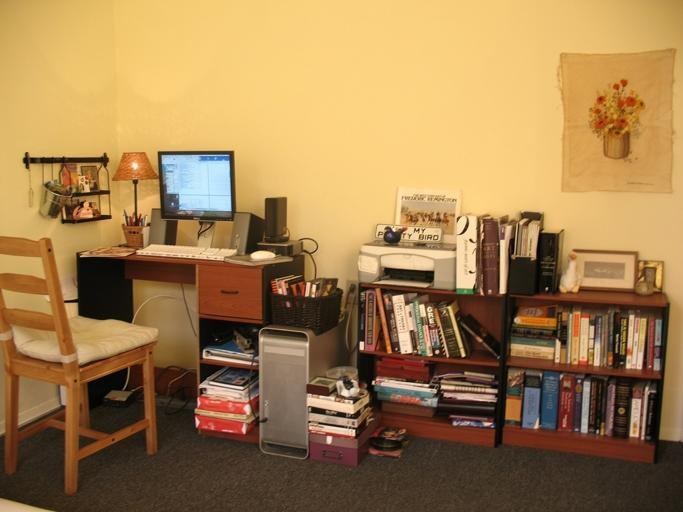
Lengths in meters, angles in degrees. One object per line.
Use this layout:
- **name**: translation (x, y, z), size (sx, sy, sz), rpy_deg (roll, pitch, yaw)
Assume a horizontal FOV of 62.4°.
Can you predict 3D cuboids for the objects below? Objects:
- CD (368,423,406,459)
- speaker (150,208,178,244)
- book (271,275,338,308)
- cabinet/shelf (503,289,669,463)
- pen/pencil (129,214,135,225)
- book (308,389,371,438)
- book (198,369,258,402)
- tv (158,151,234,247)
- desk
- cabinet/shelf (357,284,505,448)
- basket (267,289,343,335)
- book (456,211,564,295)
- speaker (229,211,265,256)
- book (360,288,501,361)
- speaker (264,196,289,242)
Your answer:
- **CD**: translation (0.276, 1.066, 3.307), size (0.208, 0.088, 0.257), rpy_deg (2, 8, 14)
- **speaker**: translation (-1.177, -0.211, 3.767), size (0.184, 0.279, 0.176), rpy_deg (-3, 13, -27)
- **book**: translation (-0.236, 0.182, 3.289), size (0.247, 0.092, 0.205), rpy_deg (4, 7, 31)
- **cabinet/shelf**: translation (1.393, 0.689, 3.197), size (0.960, 0.943, 0.342), rpy_deg (3, 4, 19)
- **pen/pencil**: translation (-1.403, -0.249, 3.757), size (0.024, 0.083, 0.023), rpy_deg (4, -37, -17)
- **book**: translation (-0.031, 0.875, 3.193), size (0.265, 0.158, 0.261), rpy_deg (4, 11, 21)
- **book**: translation (-0.649, 0.750, 3.366), size (0.223, 0.063, 0.217), rpy_deg (3, 8, 7)
- **tv**: translation (-0.939, -0.396, 3.630), size (0.664, 0.752, 0.254), rpy_deg (2, 7, 11)
- **desk**: translation (-0.993, 0.468, 3.581), size (1.320, 0.967, 0.480), rpy_deg (4, 7, 22)
- **cabinet/shelf**: translation (0.553, 0.670, 3.599), size (0.999, 0.912, 0.556), rpy_deg (4, 7, 10)
- **basket**: translation (-0.258, 0.314, 3.474), size (0.372, 0.237, 0.548), rpy_deg (7, 1, 17)
- **book**: translation (0.944, -0.015, 3.216), size (0.581, 0.443, 0.212), rpy_deg (1, 8, 11)
- **speaker**: translation (-0.607, -0.153, 3.545), size (0.160, 0.248, 0.254), rpy_deg (3, 9, 22)
- **book**: translation (0.475, 0.340, 3.528), size (0.853, 0.391, 0.416), rpy_deg (6, 5, 9)
- **speaker**: translation (-0.421, -0.235, 3.579), size (0.150, 0.277, 0.166), rpy_deg (-1, 8, -7)
